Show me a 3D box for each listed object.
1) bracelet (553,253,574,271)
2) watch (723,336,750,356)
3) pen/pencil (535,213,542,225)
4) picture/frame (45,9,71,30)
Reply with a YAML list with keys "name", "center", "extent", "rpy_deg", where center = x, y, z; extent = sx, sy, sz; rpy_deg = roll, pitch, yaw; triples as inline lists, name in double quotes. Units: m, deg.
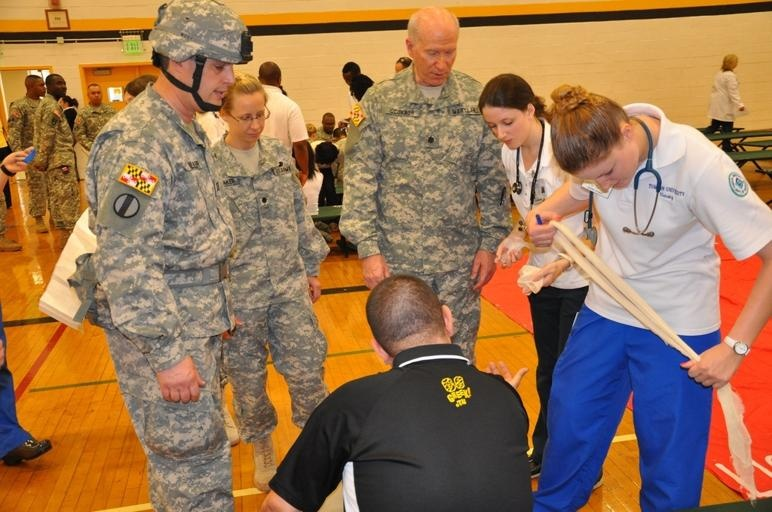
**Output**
- name: "bracelet"
  center: [0.975, 0.032, 3.339]
  extent: [0.097, 0.113, 0.053]
  rpy_deg: [-15, 18, -1]
- name: "watch"
  center: [1.565, 0.397, 2.701]
  extent: [0.087, 0.051, 0.079]
  rpy_deg: [36, 0, 0]
- name: "pen/pencil"
  center: [0.809, -0.194, 3.208]
  extent: [0.030, 0.048, 0.012]
  rpy_deg: [-15, 1, -1]
- name: "picture/frame"
  center: [-6.582, -4.737, 12.099]
  extent: [0.441, 0.395, 0.057]
  rpy_deg: [-6, 32, -7]
